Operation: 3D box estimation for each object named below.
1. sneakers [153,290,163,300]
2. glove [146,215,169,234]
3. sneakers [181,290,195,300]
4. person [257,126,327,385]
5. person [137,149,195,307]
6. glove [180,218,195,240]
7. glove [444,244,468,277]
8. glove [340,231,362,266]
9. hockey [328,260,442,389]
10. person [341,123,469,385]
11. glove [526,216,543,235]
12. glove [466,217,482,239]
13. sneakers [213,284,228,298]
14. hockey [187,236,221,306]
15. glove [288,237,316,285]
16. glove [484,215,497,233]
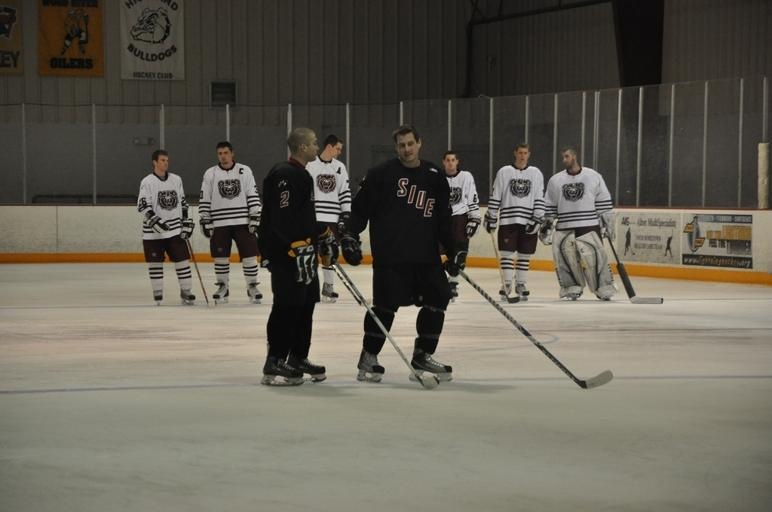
[{"bbox_3d":[-2.833,0.470,11.124,0.109,0.192,0.135,-3,7,-20],"label":"sneakers"},{"bbox_3d":[-2.821,-0.396,11.102,0.230,0.173,0.094,33,-51,-19],"label":"glove"},{"bbox_3d":[-2.447,0.493,11.066,0.134,0.139,0.187,-4,6,-22],"label":"sneakers"},{"bbox_3d":[-0.731,0.006,6.857,0.476,1.934,0.403,-2,5,-5],"label":"person"},{"bbox_3d":[-2.768,-0.370,11.313,0.644,1.899,0.922,-3,6,-13],"label":"person"},{"bbox_3d":[-2.534,-0.334,11.416,0.144,0.290,0.591,-3,6,-13],"label":"glove"},{"bbox_3d":[0.556,0.039,7.139,0.155,0.223,0.079,19,-5,-8],"label":"glove"},{"bbox_3d":[-0.285,-0.053,7.025,0.099,0.241,0.190,-2,12,41],"label":"glove"},{"bbox_3d":[0.010,0.604,7.505,0.156,1.071,0.124,-37,-1,-26],"label":"hockey"},{"bbox_3d":[0.144,-0.034,6.977,0.933,1.910,0.367,-1,5,4],"label":"person"},{"bbox_3d":[1.938,-0.403,11.683,0.228,0.233,0.169,3,-2,-10],"label":"glove"},{"bbox_3d":[1.128,-0.370,11.553,0.160,0.267,0.111,18,6,-37],"label":"glove"},{"bbox_3d":[-2.048,0.438,11.124,0.148,0.200,0.245,-1,6,-1],"label":"sneakers"},{"bbox_3d":[-2.661,0.227,13.061,0.148,1.047,0.128,-17,28,6],"label":"hockey"},{"bbox_3d":[-0.602,0.035,6.743,0.115,0.282,0.273,3,0,-31],"label":"glove"},{"bbox_3d":[1.387,-0.429,11.907,0.166,0.216,0.219,-2,0,-7],"label":"glove"}]
